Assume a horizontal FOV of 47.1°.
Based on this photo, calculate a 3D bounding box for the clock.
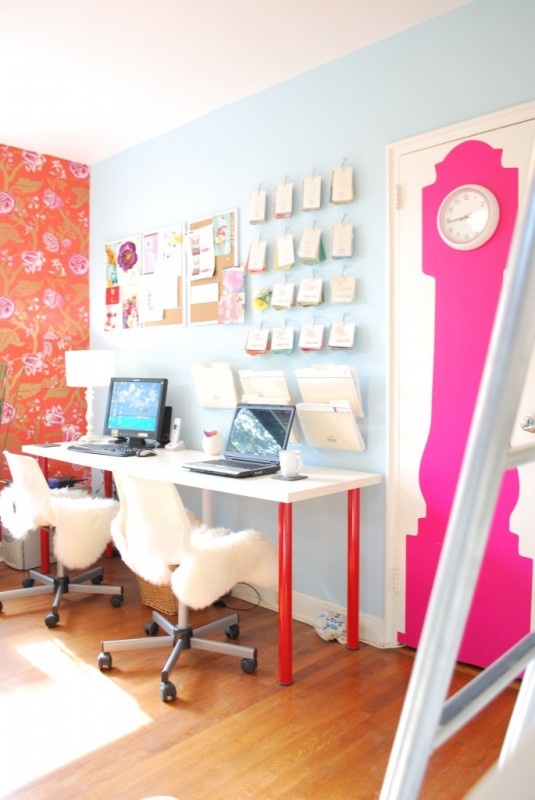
[{"bbox_3d":[0.727,-0.653,2.195,0.060,0.270,0.264,-5,4,-34],"label":"clock"}]

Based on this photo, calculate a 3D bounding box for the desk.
[{"bbox_3d":[-0.299,0.621,2.324,0.550,0.746,0.597,-1,4,-38],"label":"desk"}]

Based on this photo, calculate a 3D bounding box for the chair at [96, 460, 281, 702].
[{"bbox_3d":[-0.350,0.564,2.509,0.703,0.922,0.718,-3,5,-44],"label":"chair"}]

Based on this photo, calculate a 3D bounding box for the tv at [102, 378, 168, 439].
[{"bbox_3d":[-0.708,0.048,3.323,0.321,0.259,0.056,4,-4,45],"label":"tv"}]

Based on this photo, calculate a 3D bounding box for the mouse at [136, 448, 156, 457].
[{"bbox_3d":[-0.611,0.263,3.051,0.040,0.021,0.058,12,9,37],"label":"mouse"}]

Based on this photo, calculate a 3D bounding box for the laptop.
[{"bbox_3d":[-0.111,0.167,2.575,0.315,0.254,0.351,-3,3,-41],"label":"laptop"}]

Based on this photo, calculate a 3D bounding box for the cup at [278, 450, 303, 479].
[{"bbox_3d":[0.086,0.246,2.355,0.069,0.100,0.107,0,4,-7],"label":"cup"}]
